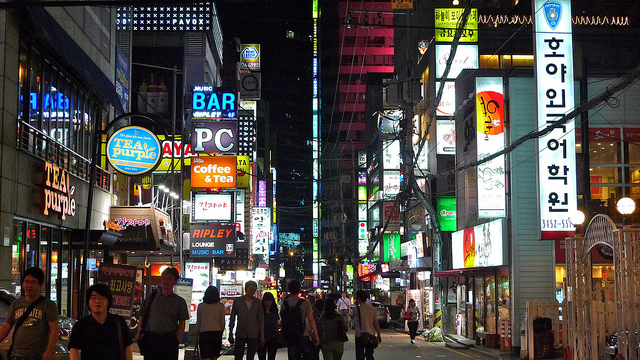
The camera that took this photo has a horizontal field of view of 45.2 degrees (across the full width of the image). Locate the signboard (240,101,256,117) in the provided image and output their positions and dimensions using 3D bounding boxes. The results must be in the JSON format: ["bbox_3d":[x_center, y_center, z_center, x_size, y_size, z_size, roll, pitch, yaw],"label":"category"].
[{"bbox_3d":[-8.117,-7.977,83.173,2.390,2.057,1.188,1,5,-1],"label":"signboard"}]

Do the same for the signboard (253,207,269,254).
[{"bbox_3d":[-5.292,4.394,68.020,1.458,4.392,1.710,3,-16,-5],"label":"signboard"}]

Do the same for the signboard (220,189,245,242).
[{"bbox_3d":[-5.991,2.419,52.063,1.940,4.217,1.715,0,0,-9],"label":"signboard"}]

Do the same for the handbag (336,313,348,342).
[{"bbox_3d":[0.771,5.327,27.482,0.216,0.960,0.447,-14,-22,43],"label":"handbag"}]

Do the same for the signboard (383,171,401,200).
[{"bbox_3d":[6.526,0.485,69.863,1.449,2.749,0.578,4,-16,-10],"label":"signboard"}]

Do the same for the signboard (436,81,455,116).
[{"bbox_3d":[9.726,-6.316,59.341,1.233,2.201,1.794,0,-16,2],"label":"signboard"}]

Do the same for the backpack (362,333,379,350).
[{"bbox_3d":[1.825,5.966,28.468,0.658,0.431,0.498,27,-4,-21],"label":"backpack"}]

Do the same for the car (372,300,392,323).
[{"bbox_3d":[4.336,9.319,54.106,1.323,0.883,2.892,0,-3,3],"label":"car"}]

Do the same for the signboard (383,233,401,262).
[{"bbox_3d":[5.951,5.502,63.462,1.496,2.462,1.111,-5,-17,20],"label":"signboard"}]

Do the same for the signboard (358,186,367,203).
[{"bbox_3d":[5.217,1.734,94.463,0.975,2.049,1.062,1,-16,-1],"label":"signboard"}]

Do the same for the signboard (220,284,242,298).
[{"bbox_3d":[-4.888,6.003,41.885,1.649,0.796,0.976,2,0,-6],"label":"signboard"}]

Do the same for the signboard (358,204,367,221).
[{"bbox_3d":[5.423,4.057,98.230,1.093,2.138,0.632,10,-18,-28],"label":"signboard"}]

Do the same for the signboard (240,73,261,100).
[{"bbox_3d":[-6.120,-8.916,71.499,0.843,2.133,3.064,2,-1,-23],"label":"signboard"}]

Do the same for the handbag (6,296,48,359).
[{"bbox_3d":[-8.784,4.376,22.736,1.206,1.817,0.450,-10,-19,35],"label":"handbag"}]

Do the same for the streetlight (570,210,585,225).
[{"bbox_3d":[10.842,1.558,32.308,0.527,0.613,0.444,-8,-18,27],"label":"streetlight"}]

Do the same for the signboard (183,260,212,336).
[{"bbox_3d":[-6.377,5.877,39.683,1.527,3.515,0.379,0,-8,12],"label":"signboard"}]

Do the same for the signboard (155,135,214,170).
[{"bbox_3d":[-10.262,-1.724,54.298,0.458,3.522,5.147,-42,-5,13],"label":"signboard"}]

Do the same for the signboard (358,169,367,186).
[{"bbox_3d":[5.218,-0.420,93.725,1.082,1.881,1.392,0,-16,3],"label":"signboard"}]

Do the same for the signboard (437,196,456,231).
[{"bbox_3d":[8.591,2.301,51.828,1.163,2.562,1.282,0,-16,5],"label":"signboard"}]

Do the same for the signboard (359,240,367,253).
[{"bbox_3d":[5.145,8.010,91.043,0.926,1.498,1.538,1,-16,1],"label":"signboard"}]

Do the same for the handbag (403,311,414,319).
[{"bbox_3d":[4.745,7.235,40.966,0.437,0.441,0.587,-1,-16,7],"label":"handbag"}]
